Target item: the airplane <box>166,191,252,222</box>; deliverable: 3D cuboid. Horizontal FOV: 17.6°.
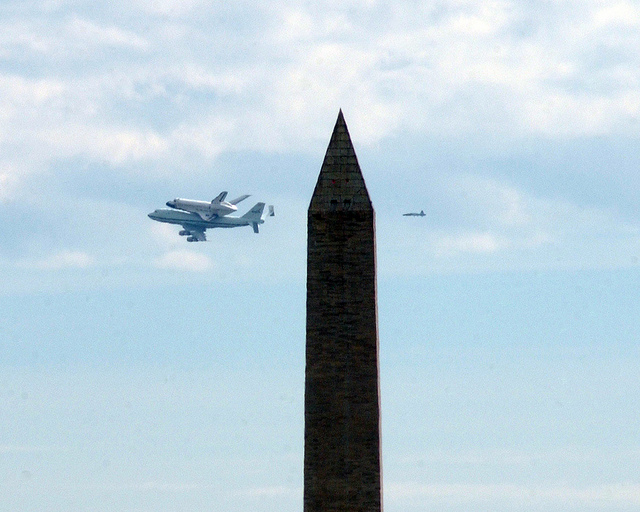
[{"bbox_3d":[-6.930,-2.967,120.158,3.591,1.595,5.921,0,-8,-1],"label":"airplane"}]
